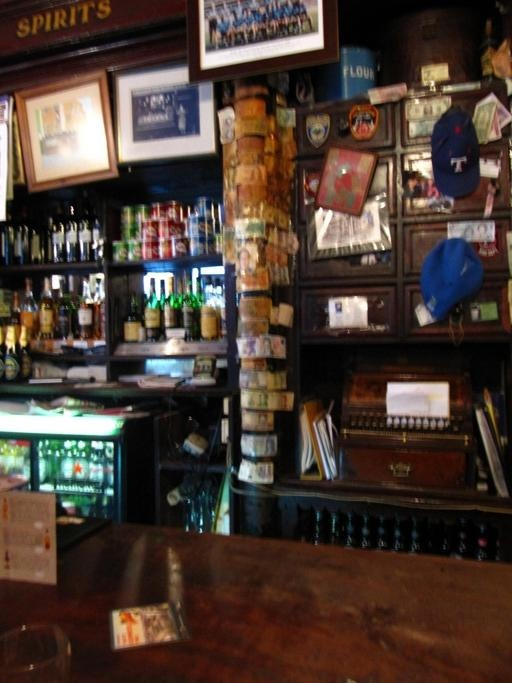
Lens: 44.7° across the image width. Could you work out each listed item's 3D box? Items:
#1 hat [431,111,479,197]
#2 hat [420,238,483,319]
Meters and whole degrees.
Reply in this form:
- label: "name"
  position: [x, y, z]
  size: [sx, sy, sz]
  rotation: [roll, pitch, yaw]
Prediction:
- label: "hat"
  position: [0.816, -0.788, 2.542]
  size: [0.154, 0.402, 0.153]
  rotation: [-10, -17, 12]
- label: "hat"
  position: [0.794, -0.266, 2.564]
  size: [0.184, 0.388, 0.122]
  rotation: [8, 3, 38]
